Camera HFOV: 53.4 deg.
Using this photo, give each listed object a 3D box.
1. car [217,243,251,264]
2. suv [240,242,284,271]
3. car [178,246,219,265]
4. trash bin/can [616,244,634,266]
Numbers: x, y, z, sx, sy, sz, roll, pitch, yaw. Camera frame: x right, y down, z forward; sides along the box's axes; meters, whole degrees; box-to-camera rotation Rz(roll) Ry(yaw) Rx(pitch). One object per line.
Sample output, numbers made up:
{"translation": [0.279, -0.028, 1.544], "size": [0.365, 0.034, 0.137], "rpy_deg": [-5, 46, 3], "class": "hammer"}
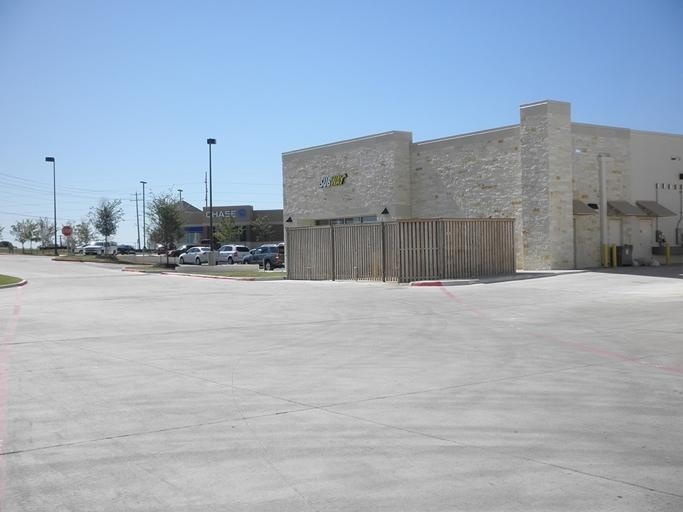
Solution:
{"translation": [-8.585, -0.165, 55.935], "size": [1.390, 1.074, 2.946], "rpy_deg": [-2, 5, -40], "class": "car"}
{"translation": [-5.113, 0.054, 47.834], "size": [1.606, 1.093, 3.200], "rpy_deg": [-1, 4, -39], "class": "suv"}
{"translation": [-11.933, 0.029, 57.546], "size": [1.992, 1.240, 4.216], "rpy_deg": [-1, 3, -40], "class": "car"}
{"translation": [14.074, -0.032, 33.370], "size": [0.691, 1.001, 1.529], "rpy_deg": [1, 4, 37], "class": "trash bin/can"}
